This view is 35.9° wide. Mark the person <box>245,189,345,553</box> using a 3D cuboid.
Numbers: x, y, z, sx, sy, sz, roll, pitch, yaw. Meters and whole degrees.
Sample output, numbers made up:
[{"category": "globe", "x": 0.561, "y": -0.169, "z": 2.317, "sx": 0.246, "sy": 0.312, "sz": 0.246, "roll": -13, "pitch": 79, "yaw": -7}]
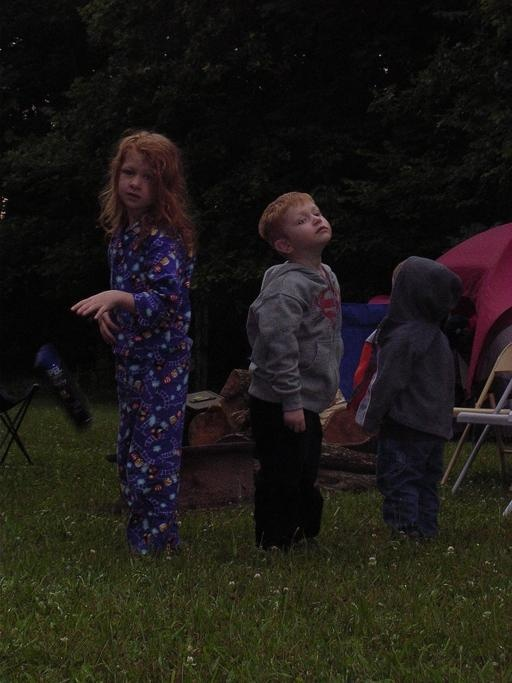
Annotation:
[{"category": "person", "x": 0.140, "y": 0.098, "z": 3.225, "sx": 0.353, "sy": 1.131, "sz": 0.441, "roll": -2, "pitch": -1, "yaw": 20}]

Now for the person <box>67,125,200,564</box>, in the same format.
[{"category": "person", "x": -0.457, "y": -0.034, "z": 3.246, "sx": 0.441, "sy": 1.227, "sz": 0.679, "roll": -2, "pitch": -1, "yaw": -3}]

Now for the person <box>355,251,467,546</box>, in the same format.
[{"category": "person", "x": 0.780, "y": 0.245, "z": 3.873, "sx": 0.537, "sy": 1.153, "sz": 0.421, "roll": -2, "pitch": -1, "yaw": -2}]
